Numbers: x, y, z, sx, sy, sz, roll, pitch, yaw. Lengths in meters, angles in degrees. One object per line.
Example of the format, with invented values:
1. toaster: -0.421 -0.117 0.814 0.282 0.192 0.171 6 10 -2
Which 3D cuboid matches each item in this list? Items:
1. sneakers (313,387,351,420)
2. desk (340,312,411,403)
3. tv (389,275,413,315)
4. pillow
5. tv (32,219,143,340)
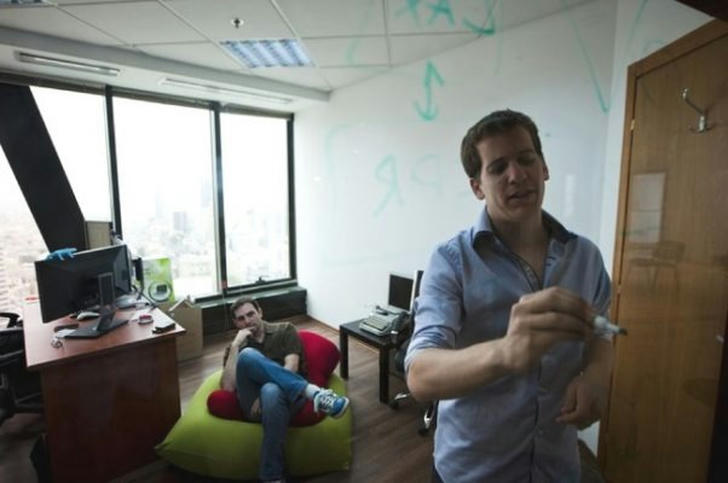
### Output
1. sneakers: -0.263 1.262 3.798 0.305 0.140 0.169 2 42 33
2. desk: -0.031 1.116 4.787 0.660 0.438 0.672 13 -5 41
3. tv: 0.374 0.536 4.857 0.038 0.343 0.360 4 1 -39
4. pillow: -0.543 1.122 4.136 0.699 0.261 0.692 -5 9 6
5. tv: -2.433 0.350 4.248 0.302 0.718 0.951 5 9 20
